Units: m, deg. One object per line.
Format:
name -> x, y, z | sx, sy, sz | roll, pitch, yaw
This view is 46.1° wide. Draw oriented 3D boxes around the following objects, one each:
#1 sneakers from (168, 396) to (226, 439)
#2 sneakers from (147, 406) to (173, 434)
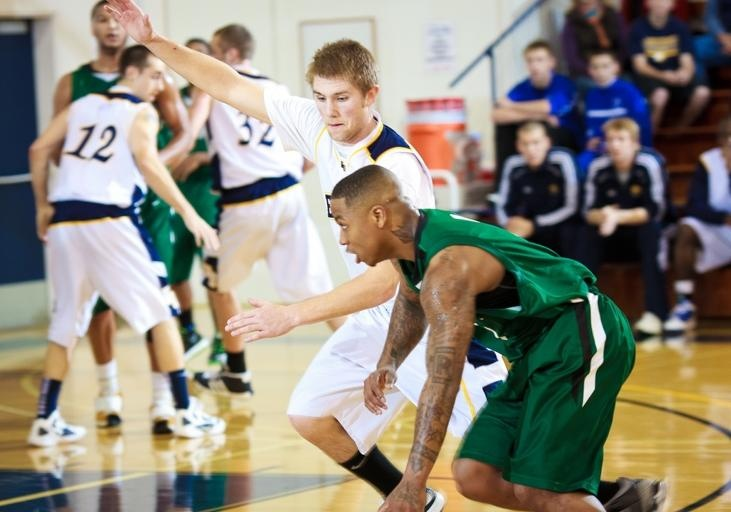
sneakers -> -1.045, 1.000, 5.369 | 0.340, 0.222, 0.176 | 0, 2, -39
sneakers -> -1.281, 1.018, 5.367 | 0.144, 0.169, 0.151 | 2, -11, -12
